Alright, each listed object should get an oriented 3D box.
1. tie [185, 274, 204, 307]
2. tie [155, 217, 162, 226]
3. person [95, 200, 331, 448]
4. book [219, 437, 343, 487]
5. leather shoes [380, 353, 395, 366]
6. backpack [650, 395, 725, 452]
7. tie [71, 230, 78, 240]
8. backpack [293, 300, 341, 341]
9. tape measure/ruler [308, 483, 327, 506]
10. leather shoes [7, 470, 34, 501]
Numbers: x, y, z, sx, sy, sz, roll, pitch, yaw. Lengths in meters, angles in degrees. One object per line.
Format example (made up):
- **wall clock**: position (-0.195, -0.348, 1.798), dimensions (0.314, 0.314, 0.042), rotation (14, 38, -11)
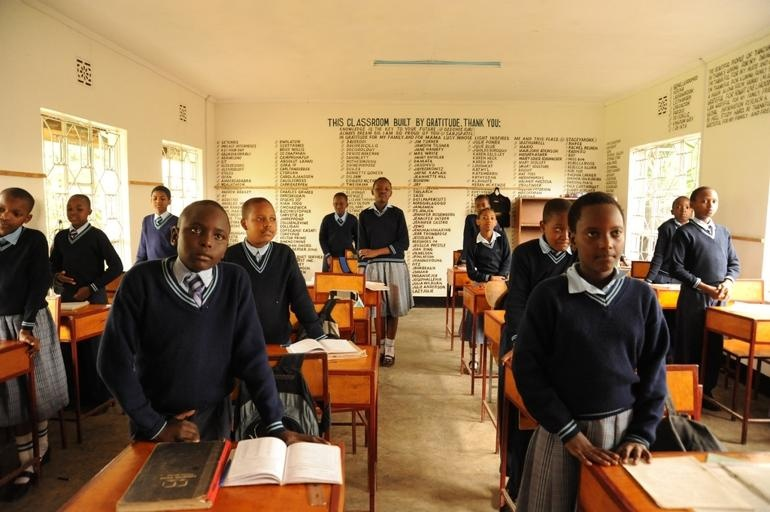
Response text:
- **tie**: position (-1.007, 0.178, 2.903), dimensions (0.055, 0.164, 0.104), rotation (-22, 2, -29)
- **tie**: position (-2.455, -0.375, 5.911), dimensions (0.080, 0.079, 0.022), rotation (39, 1, 10)
- **person**: position (-1.025, 0.363, 2.896), dimensions (0.945, 1.311, 0.267), rotation (-1, 6, -5)
- **book**: position (-0.482, 0.983, 2.631), dimensions (0.562, 0.164, 0.181), rotation (0, 6, 0)
- **leather shoes**: position (0.025, 1.136, 5.982), dimensions (0.127, 0.143, 0.346), rotation (0, -3, -2)
- **backpack**: position (1.639, 0.898, 2.919), dimensions (0.207, 0.308, 0.320), rotation (-2, -31, 3)
- **tie**: position (-2.815, -0.188, 4.945), dimensions (0.052, 0.075, 0.023), rotation (4, -6, -5)
- **backpack**: position (-0.499, 0.525, 3.985), dimensions (0.259, 0.447, 0.417), rotation (3, -4, -16)
- **tape measure/ruler**: position (-0.312, 1.100, 2.518), dimensions (0.057, 0.015, 0.083), rotation (0, 39, -5)
- **leather shoes**: position (-2.601, 1.634, 3.904), dimensions (0.089, 0.066, 0.245), rotation (1, 6, -9)
